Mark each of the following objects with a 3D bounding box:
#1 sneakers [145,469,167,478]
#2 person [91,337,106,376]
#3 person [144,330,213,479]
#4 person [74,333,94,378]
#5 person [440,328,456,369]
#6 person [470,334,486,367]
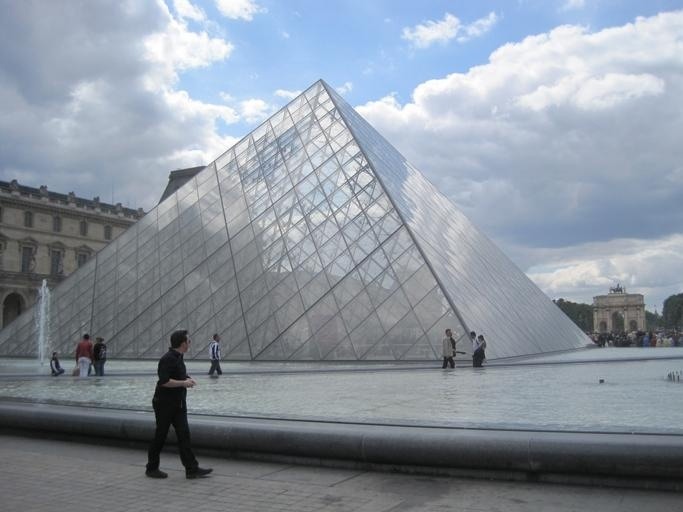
[{"bbox_3d":[-2.011,2.365,6.056,0.193,0.086,0.095,1,-3,6],"label":"sneakers"},{"bbox_3d":[-7.324,3.018,16.862,0.327,1.059,1.560,0,-4,-24],"label":"person"},{"bbox_3d":[-1.876,1.646,6.333,0.676,1.566,0.827,0,-4,-21],"label":"person"},{"bbox_3d":[-7.789,2.982,16.922,0.441,1.209,0.962,0,-4,-23],"label":"person"},{"bbox_3d":[3.394,2.953,17.751,0.395,1.164,1.056,-2,-4,10],"label":"person"},{"bbox_3d":[4.538,3.056,18.413,0.450,1.027,2.127,-3,-4,14],"label":"person"}]
